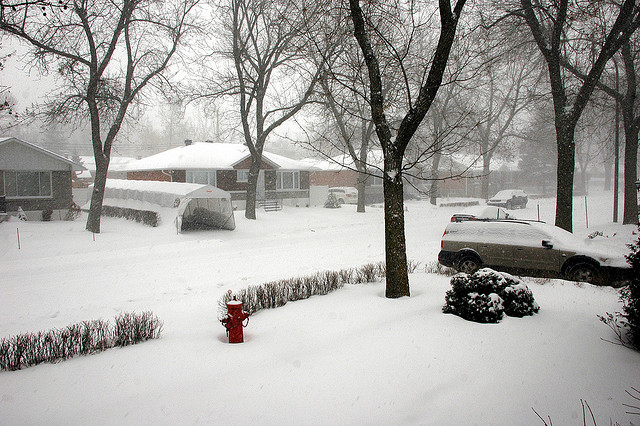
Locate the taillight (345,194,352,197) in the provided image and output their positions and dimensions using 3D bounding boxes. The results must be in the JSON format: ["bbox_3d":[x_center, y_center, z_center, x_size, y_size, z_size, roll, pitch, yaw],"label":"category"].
[{"bbox_3d":[2.943,-1.858,52.396,0.582,0.191,0.257,-3,12,3],"label":"taillight"}]

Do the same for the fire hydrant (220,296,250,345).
[{"bbox_3d":[-2.300,2.993,14.124,0.565,1.417,0.551,0,2,7],"label":"fire hydrant"}]
